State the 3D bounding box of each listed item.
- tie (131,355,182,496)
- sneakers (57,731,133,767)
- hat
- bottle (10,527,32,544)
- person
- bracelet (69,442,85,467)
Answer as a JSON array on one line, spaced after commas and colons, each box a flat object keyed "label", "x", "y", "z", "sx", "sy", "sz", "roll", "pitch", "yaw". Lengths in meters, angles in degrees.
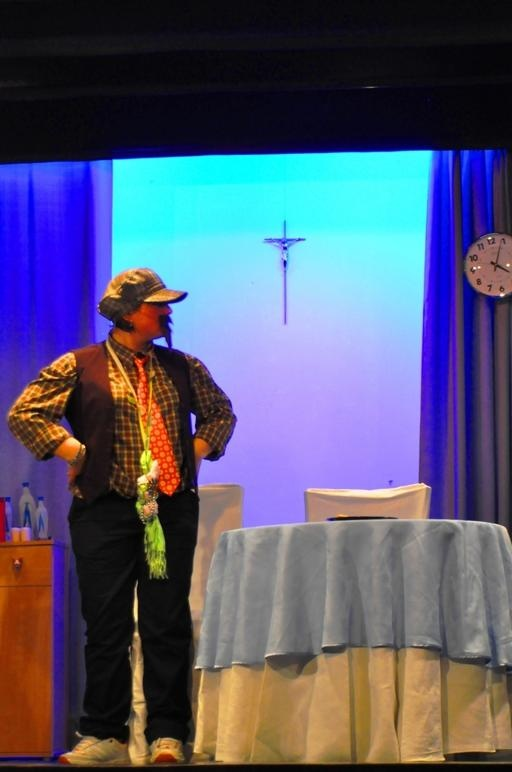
[{"label": "tie", "x": -0.311, "y": 0.075, "z": 3.791, "sx": 0.111, "sy": 0.025, "sz": 0.637, "roll": 5, "pitch": 40, "yaw": -19}, {"label": "sneakers", "x": -0.454, "y": 1.036, "z": 3.510, "sx": 0.200, "sy": 0.068, "sz": 0.168, "roll": -3, "pitch": 1, "yaw": -13}, {"label": "hat", "x": -0.355, "y": -0.299, "z": 3.850, "sx": 0.277, "sy": 0.156, "sz": 0.193, "roll": -16, "pitch": 5, "yaw": 2}, {"label": "bottle", "x": -0.935, "y": 0.593, "z": 4.956, "sx": 0.069, "sy": 0.070, "sz": 0.073, "roll": 3, "pitch": -5, "yaw": -22}, {"label": "person", "x": -0.367, "y": 0.355, "z": 3.666, "sx": 0.690, "sy": 1.173, "sz": 0.497, "roll": -3, "pitch": 1, "yaw": -16}, {"label": "bracelet", "x": -0.527, "y": 0.202, "z": 3.621, "sx": 0.052, "sy": 0.068, "sz": 0.041, "roll": 11, "pitch": 6, "yaw": -3}]
